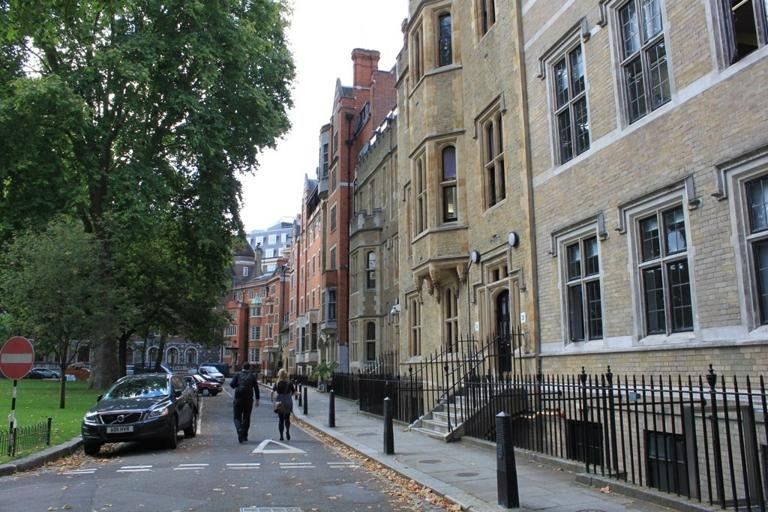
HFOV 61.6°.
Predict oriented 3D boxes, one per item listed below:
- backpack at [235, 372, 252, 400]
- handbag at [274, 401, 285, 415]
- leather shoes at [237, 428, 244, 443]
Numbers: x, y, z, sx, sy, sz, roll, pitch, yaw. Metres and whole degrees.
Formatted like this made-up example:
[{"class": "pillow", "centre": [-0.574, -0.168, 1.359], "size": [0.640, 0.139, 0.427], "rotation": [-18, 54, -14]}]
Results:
[{"class": "backpack", "centre": [-4.193, 3.911, 19.270], "size": [0.589, 0.883, 0.490], "rotation": [2, -33, -12]}, {"class": "handbag", "centre": [-3.157, 4.582, 19.526], "size": [0.269, 0.337, 0.315], "rotation": [5, -17, -9]}, {"class": "leather shoes", "centre": [-4.213, 5.284, 18.984], "size": [0.198, 0.405, 0.190], "rotation": [3, -16, -3]}]
